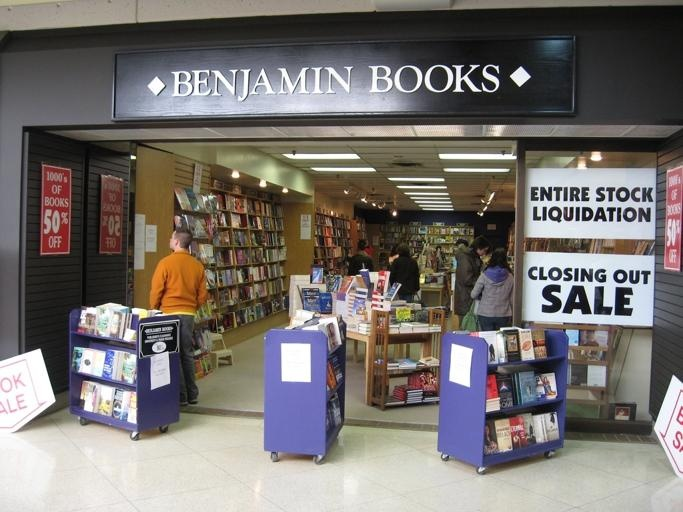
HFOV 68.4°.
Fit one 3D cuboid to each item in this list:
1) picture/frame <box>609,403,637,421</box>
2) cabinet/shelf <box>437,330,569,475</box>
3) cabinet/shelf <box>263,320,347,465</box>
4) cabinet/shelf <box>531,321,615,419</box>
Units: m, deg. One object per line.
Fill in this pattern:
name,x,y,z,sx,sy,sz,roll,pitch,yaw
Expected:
picture/frame,3.059,1.713,5.498,0.315,0.215,0.178,0,-4,7
cabinet/shelf,1.501,1.416,4.753,1.293,1.244,0.648,-1,3,-38
cabinet/shelf,-0.272,1.308,4.780,0.935,1.295,0.545,-6,12,-37
cabinet/shelf,2.429,1.182,5.293,1.098,1.123,0.588,0,0,2
